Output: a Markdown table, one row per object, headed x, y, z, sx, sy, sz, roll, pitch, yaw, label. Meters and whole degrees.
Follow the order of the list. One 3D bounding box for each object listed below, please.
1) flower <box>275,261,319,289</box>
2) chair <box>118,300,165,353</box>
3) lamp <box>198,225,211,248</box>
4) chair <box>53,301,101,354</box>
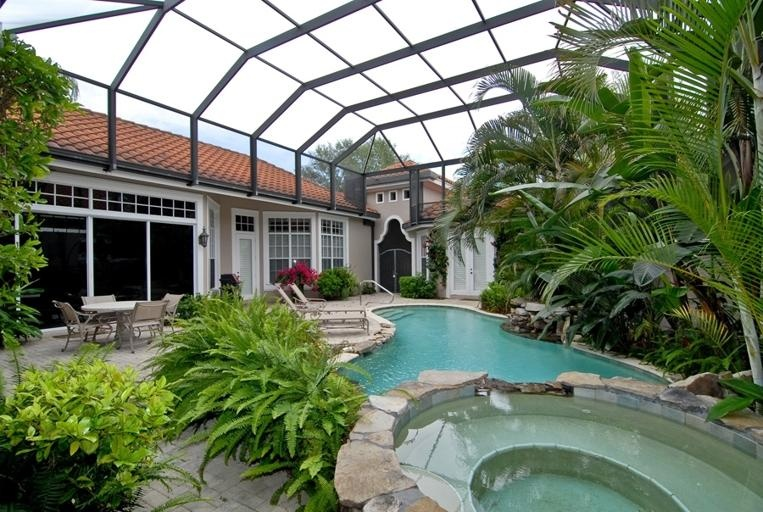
| x | y | z | sx | sy | sz | roll | pitch | yaw | label |
| --- | --- | --- | --- | --- | --- | --- | --- | --- | --- |
| -2.726 | 0.654 | 15.983 | 1.037 | 1.018 | 1.036 | 0 | 0 | 14 | flower |
| -4.267 | 1.253 | 8.777 | 0.661 | 0.781 | 0.647 | -15 | -18 | 36 | chair |
| -4.567 | -0.500 | 12.414 | 0.201 | 0.553 | 0.367 | -2 | -3 | 2 | lamp |
| -5.357 | 1.189 | 8.616 | 0.617 | 0.838 | 0.688 | 4 | 5 | 13 | chair |
